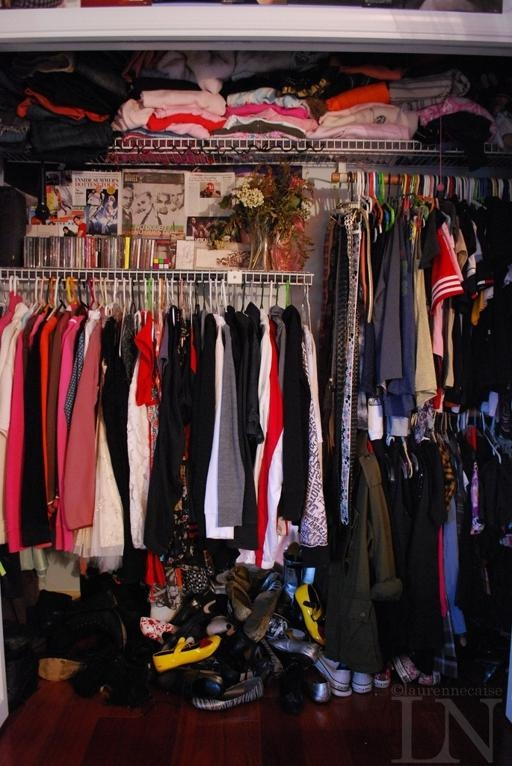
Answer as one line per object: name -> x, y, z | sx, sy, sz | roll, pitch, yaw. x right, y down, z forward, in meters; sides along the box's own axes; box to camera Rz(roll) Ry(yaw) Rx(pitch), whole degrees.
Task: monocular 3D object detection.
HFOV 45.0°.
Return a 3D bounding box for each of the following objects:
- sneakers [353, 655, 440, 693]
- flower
sneakers -> 0.486, 1.012, 2.155 | 0.269, 0.151, 0.097 | -5, -2, -14
flower -> 0.078, -0.672, 2.377 | 0.249, 0.265, 0.272 | 3, 13, 38
